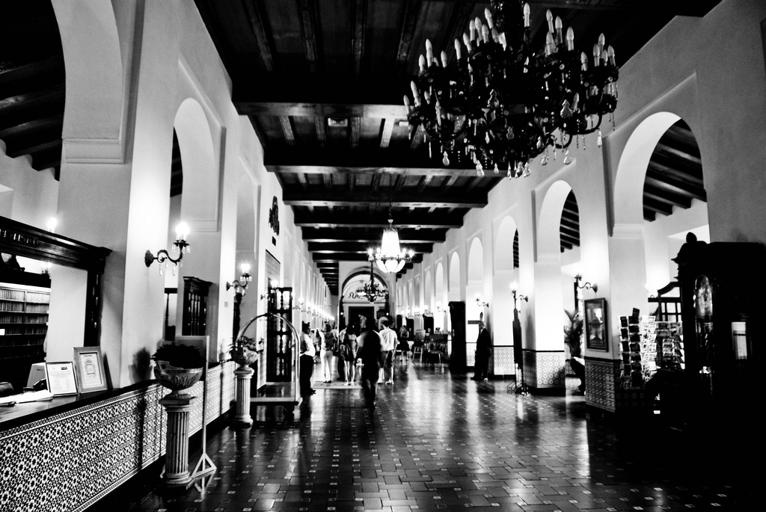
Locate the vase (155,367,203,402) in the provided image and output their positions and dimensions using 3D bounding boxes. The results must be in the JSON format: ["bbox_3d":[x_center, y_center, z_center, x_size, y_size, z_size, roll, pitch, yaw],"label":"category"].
[{"bbox_3d":[-2.750,1.695,6.941,0.645,0.522,0.680,5,2,-30],"label":"vase"}]

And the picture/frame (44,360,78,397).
[{"bbox_3d":[-3.650,1.416,5.838,0.041,0.466,0.342,-21,-17,32],"label":"picture/frame"}]

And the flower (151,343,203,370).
[{"bbox_3d":[-2.650,1.344,6.812,0.343,0.180,0.440,11,-27,-11],"label":"flower"}]

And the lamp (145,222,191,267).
[{"bbox_3d":[-3.111,-0.142,7.472,0.757,0.924,0.314,0,-6,2],"label":"lamp"}]

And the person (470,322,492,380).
[{"bbox_3d":[3.115,3.089,16.084,0.549,1.580,1.104,-1,-11,11],"label":"person"}]
